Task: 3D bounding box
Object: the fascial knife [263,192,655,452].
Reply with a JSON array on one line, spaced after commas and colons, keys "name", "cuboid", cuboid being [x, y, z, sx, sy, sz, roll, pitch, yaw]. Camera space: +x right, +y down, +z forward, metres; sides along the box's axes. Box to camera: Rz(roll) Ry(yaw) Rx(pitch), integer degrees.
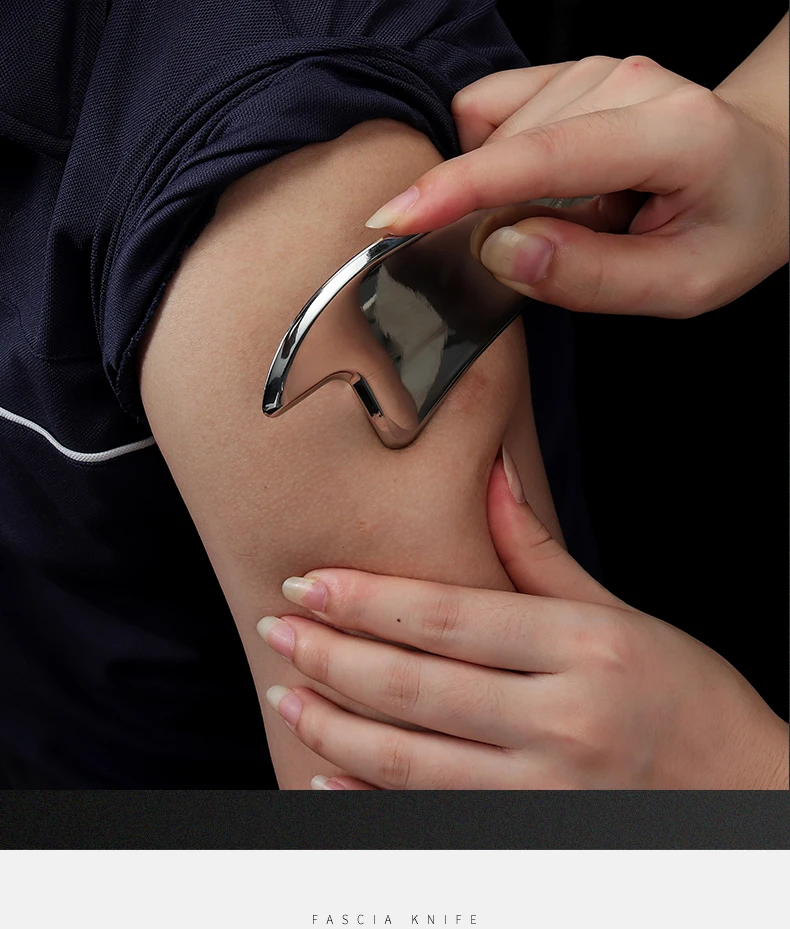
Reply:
[{"name": "fascial knife", "cuboid": [0.039, -0.103, 0.538, 0.086, 0.079, 0.259, 42, 45, 16]}]
